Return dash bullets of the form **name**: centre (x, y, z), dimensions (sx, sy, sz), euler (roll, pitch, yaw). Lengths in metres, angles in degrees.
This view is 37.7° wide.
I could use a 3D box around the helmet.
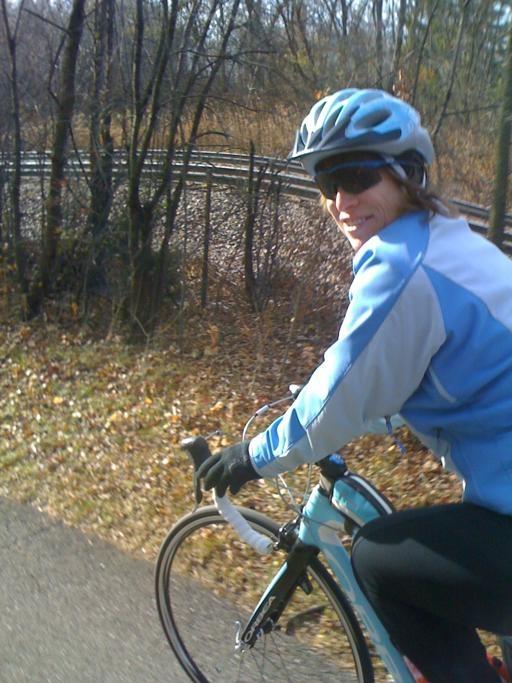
- **helmet**: centre (0.365, -0.705, 2.465), dimensions (0.301, 0.292, 0.416), euler (0, -4, -4)
